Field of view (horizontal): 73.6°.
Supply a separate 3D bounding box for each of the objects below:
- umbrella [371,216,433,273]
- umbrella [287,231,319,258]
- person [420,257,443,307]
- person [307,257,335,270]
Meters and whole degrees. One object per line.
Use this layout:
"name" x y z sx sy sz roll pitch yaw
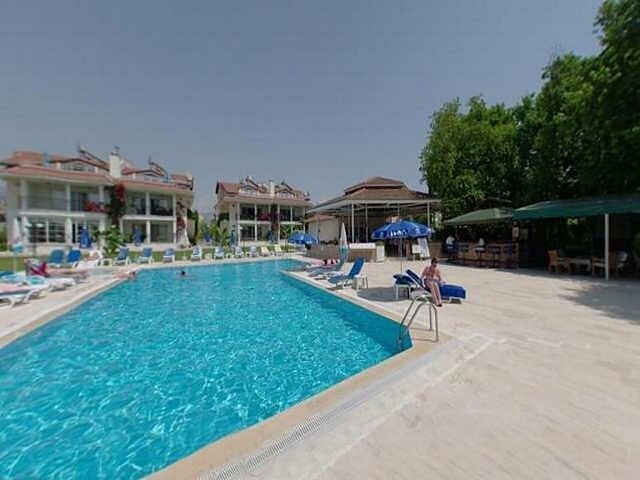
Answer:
"umbrella" 3.411 0.536 19.046 2.862 1.979 2.910 -2 6 -8
"umbrella" -0.697 -0.010 26.563 2.241 1.672 2.267 3 2 -11
"person" 4.242 1.577 16.206 0.734 1.760 1.277 -2 1 15
"person" 0.164 1.329 22.824 1.377 0.304 0.761 -5 -1 -4
